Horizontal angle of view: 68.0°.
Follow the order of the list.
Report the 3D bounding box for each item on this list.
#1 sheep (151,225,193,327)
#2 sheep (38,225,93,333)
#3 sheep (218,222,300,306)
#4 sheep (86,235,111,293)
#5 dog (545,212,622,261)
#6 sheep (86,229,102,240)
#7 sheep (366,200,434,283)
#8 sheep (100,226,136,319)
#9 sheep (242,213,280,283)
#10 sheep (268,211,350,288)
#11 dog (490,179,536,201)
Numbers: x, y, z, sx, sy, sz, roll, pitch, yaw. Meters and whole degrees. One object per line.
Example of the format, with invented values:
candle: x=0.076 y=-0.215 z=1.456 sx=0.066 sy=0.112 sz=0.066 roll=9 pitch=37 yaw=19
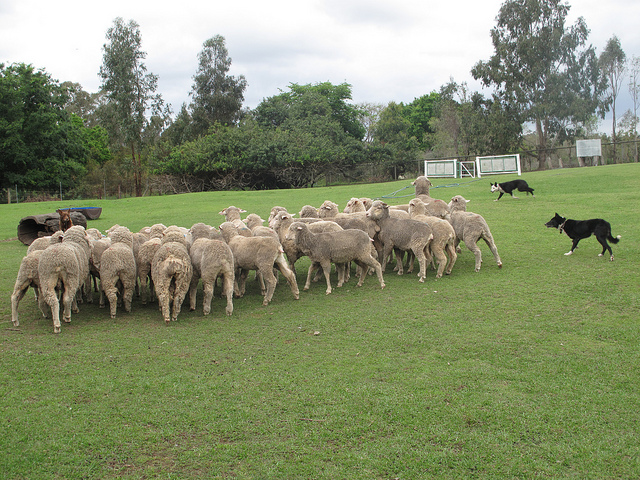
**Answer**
sheep: x=-3.411 y=0.831 z=10.967 sx=0.911 sy=1.947 sz=1.778 roll=-4 pitch=5 yaw=-17
sheep: x=-5.656 y=0.797 z=10.578 sx=0.820 sy=2.126 sz=1.858 roll=-4 pitch=5 yaw=-18
sheep: x=-1.698 y=0.558 z=11.957 sx=2.514 sy=1.971 sz=0.762 roll=5 pitch=8 yaw=37
sheep: x=-5.728 y=0.532 z=12.114 sx=0.483 sy=1.277 sz=1.479 roll=-2 pitch=5 yaw=-17
dog: x=7.281 y=-0.098 z=13.132 sx=0.726 sy=1.179 sz=1.864 roll=-5 pitch=5 yaw=-22
sheep: x=-6.110 y=-0.131 z=12.756 sx=0.402 sy=0.217 sz=0.532 roll=-2 pitch=15 yaw=3
sheep: x=2.181 y=0.030 z=13.076 sx=0.787 sy=1.991 sz=2.355 roll=0 pitch=7 yaw=-40
sheep: x=-4.748 y=0.789 z=11.100 sx=0.783 sy=1.868 sz=1.263 roll=-5 pitch=6 yaw=-25
sheep: x=-1.740 y=0.033 z=13.257 sx=0.967 sy=1.810 sz=2.136 roll=-6 pitch=16 yaw=-22
sheep: x=-0.315 y=0.294 z=13.003 sx=2.197 sy=1.849 sz=1.017 roll=8 pitch=0 yaw=3
dog: x=9.802 y=-2.558 z=24.142 sx=1.973 sy=0.950 sz=1.735 roll=-1 pitch=5 yaw=22
